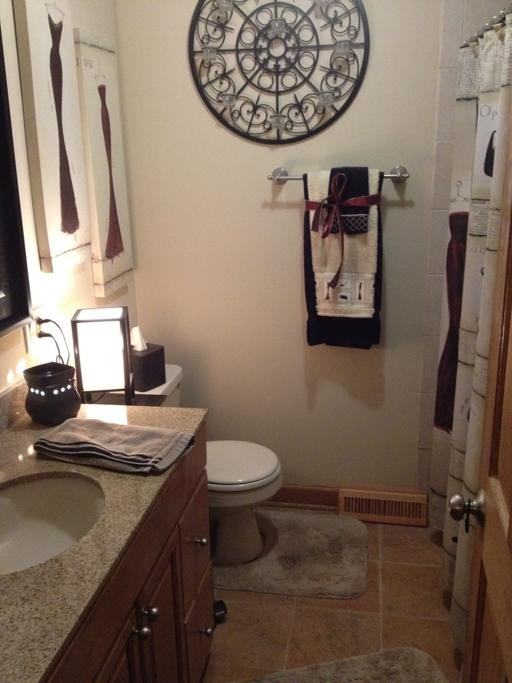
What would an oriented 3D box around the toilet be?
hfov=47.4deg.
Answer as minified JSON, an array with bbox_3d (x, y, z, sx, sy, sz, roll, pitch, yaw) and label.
[{"bbox_3d":[-0.153,0.461,2.379,0.661,0.873,0.409,3,22,15],"label":"toilet"}]

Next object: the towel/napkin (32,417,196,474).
[{"bbox_3d":[-0.306,0.219,1.231,0.178,0.031,0.150,6,13,11],"label":"towel/napkin"}]

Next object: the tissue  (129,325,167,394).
[{"bbox_3d":[-0.369,0.059,2.001,0.109,0.212,0.148,-4,14,-11],"label":"tissue "}]
